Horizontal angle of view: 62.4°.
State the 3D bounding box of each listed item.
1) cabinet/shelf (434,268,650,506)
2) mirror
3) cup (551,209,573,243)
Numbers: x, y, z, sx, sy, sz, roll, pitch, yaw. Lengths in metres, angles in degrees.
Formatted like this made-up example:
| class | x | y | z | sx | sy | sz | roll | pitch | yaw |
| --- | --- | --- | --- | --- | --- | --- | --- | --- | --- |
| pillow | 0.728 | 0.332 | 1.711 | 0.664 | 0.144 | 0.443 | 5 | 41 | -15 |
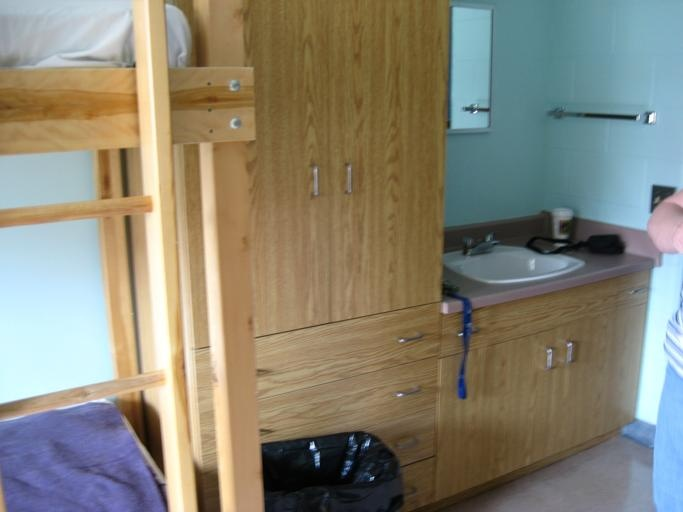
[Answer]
| class | x | y | z | sx | sy | sz | roll | pitch | yaw |
| --- | --- | --- | --- | --- | --- | --- | --- | --- | --- |
| cabinet/shelf | 0.902 | 0.597 | 2.632 | 1.080 | 0.778 | 0.393 | -10 | 16 | -30 |
| mirror | 0.656 | -0.943 | 2.856 | 0.293 | 0.600 | 0.042 | -13 | 19 | -33 |
| cup | 1.237 | -0.176 | 3.178 | 0.117 | 0.158 | 0.112 | -1 | 10 | 0 |
